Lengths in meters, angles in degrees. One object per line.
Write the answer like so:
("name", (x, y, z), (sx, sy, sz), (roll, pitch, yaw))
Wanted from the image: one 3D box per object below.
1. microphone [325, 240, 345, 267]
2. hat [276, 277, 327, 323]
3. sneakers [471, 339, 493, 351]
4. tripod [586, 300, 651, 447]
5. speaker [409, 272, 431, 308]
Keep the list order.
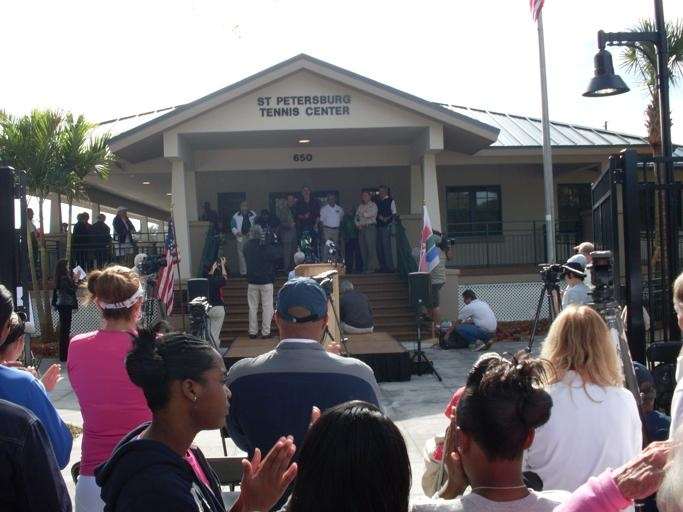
("microphone", (-0.148, -0.050, 14.993), (0.274, 0.330, 0.559), (-8, -28, -3))
("hat", (-0.252, 0.283, 4.546), (0.350, 0.283, 0.528), (2, 1, 4))
("sneakers", (2.777, 1.755, 13.432), (0.177, 0.241, 0.501), (-29, 5, -33))
("tripod", (1.961, 0.814, 4.832), (0.354, 1.057, 0.789), (-2, 0, 21))
("speaker", (1.356, 0.708, 11.841), (0.411, 0.755, 0.447), (5, -38, -3))
